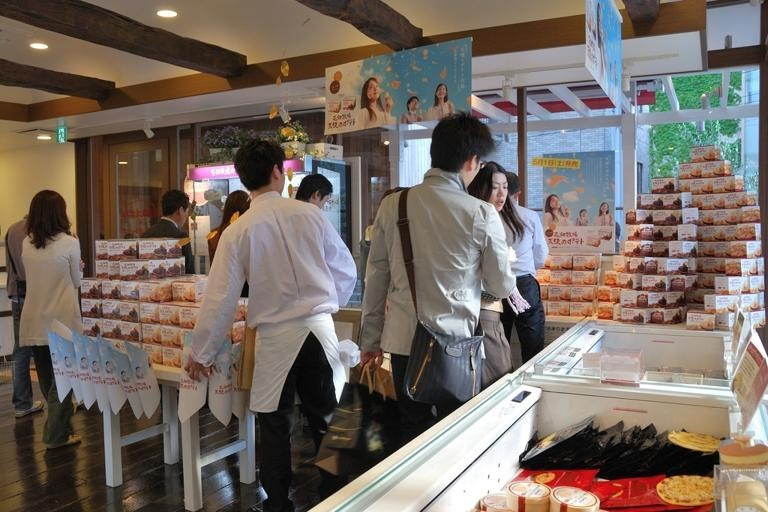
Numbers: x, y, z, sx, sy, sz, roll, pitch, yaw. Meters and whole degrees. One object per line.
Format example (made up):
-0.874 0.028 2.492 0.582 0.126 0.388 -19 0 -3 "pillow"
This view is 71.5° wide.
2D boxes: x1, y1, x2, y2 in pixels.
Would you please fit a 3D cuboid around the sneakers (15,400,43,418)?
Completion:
-3.284 1.433 4.984 0.082 0.081 0.212 3 8 25 "sneakers"

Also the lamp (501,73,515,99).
1.210 -1.678 5.265 0.067 0.229 0.157 2 8 20 "lamp"

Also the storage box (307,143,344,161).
-0.631 -1.124 5.763 0.227 0.126 0.309 3 2 35 "storage box"

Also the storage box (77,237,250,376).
-1.631 0.278 4.076 1.636 1.076 0.847 3 4 23 "storage box"

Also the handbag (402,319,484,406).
0.287 0.524 2.620 0.455 0.359 0.264 10 3 -45 "handbag"

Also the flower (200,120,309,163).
-1.487 -1.346 6.174 1.188 0.377 0.909 1 6 16 "flower"

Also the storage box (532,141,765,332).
1.982 -0.133 3.904 1.338 1.319 0.652 5 9 33 "storage box"

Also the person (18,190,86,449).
-2.698 0.496 4.385 0.468 2.042 0.777 -6 9 -36 "person"

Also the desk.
-1.354 1.317 3.880 1.189 0.951 0.921 3 4 32 "desk"

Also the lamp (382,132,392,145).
0.033 -1.348 6.156 0.146 0.132 0.036 2 -5 29 "lamp"
